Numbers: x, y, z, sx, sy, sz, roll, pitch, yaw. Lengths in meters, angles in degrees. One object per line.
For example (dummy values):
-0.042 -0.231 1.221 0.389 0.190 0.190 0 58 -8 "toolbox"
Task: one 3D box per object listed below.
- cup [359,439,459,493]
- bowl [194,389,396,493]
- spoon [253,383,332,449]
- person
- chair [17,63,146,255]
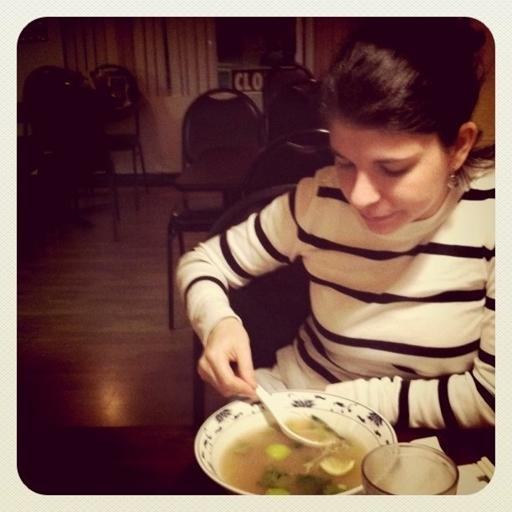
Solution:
0.260 0.328 0.797 0.121 0.098 0.118 -8 7 1 "cup"
0.068 0.352 0.854 0.350 0.103 0.234 -1 21 -3 "bowl"
0.071 0.296 0.916 0.120 0.022 0.079 47 31 18 "spoon"
0.195 -0.051 1.014 0.681 0.832 0.449 -4 21 -10 "person"
-0.416 -0.243 1.147 0.294 0.387 0.142 -4 21 -10 "chair"
